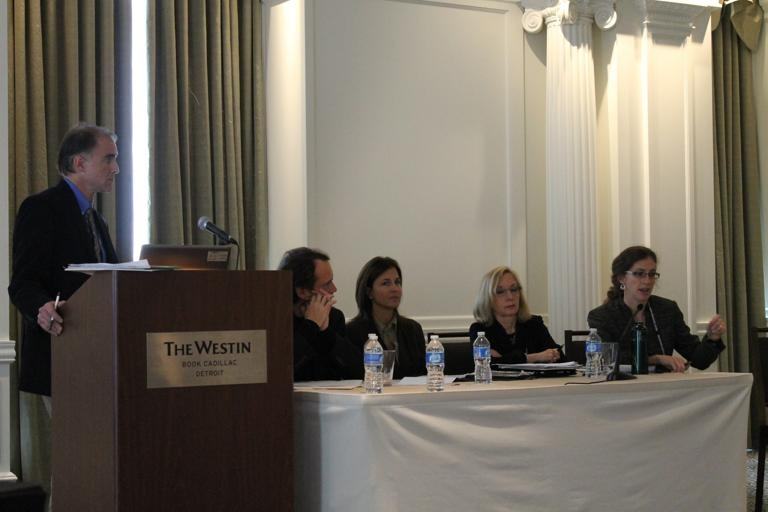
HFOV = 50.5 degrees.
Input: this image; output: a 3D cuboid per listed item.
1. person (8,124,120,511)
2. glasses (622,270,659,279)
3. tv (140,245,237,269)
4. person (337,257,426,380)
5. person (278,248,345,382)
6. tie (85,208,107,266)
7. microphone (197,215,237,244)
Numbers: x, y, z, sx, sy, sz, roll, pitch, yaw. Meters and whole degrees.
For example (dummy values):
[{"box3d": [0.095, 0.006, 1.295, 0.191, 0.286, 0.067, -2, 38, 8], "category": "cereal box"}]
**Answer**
[{"box3d": [-1.812, 0.045, 4.532, 0.611, 1.660, 1.194, -1, -4, -18], "category": "person"}, {"box3d": [1.652, 0.119, 5.144, 0.215, 0.057, 0.098, -2, -4, -17], "category": "glasses"}, {"box3d": [-1.004, 0.004, 4.114, 0.455, 0.136, 0.217, -1, -4, -26], "category": "tv"}, {"box3d": [-0.042, 0.398, 5.089, 0.498, 0.827, 0.419, 6, -18, -31], "category": "person"}, {"box3d": [-0.387, 0.307, 4.406, 0.355, 0.747, 0.790, -2, -3, -5], "category": "person"}, {"box3d": [-1.680, -0.115, 4.715, 0.058, 0.273, 0.181, -9, 2, 1], "category": "tie"}, {"box3d": [-1.149, -0.175, 5.522, 0.268, 0.090, 0.078, 38, 9, 24], "category": "microphone"}]
